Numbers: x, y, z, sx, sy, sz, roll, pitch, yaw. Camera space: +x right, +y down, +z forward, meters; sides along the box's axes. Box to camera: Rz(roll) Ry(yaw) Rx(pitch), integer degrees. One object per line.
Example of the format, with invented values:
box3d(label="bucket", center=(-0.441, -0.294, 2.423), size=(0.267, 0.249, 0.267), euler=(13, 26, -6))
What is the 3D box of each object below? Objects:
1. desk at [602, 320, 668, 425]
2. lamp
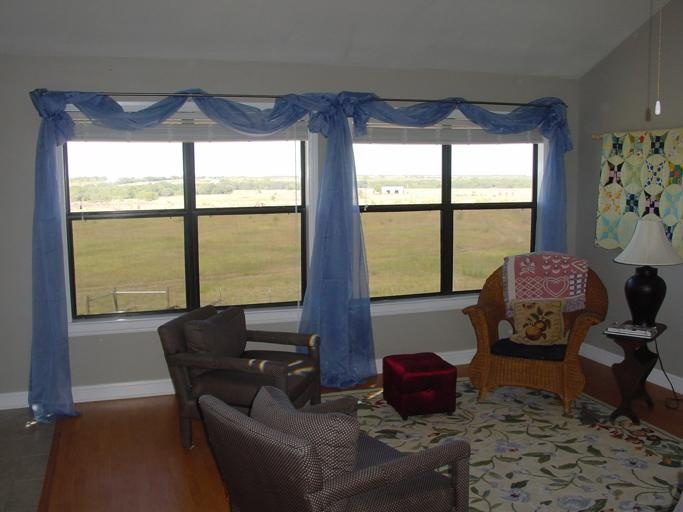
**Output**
box3d(label="desk", center=(2.459, 0.986, 4.582), size=(0.400, 0.695, 0.747), euler=(2, 1, 37))
box3d(label="lamp", center=(2.542, 0.115, 4.469), size=(0.591, 0.833, 0.388), euler=(-7, 15, -20))
